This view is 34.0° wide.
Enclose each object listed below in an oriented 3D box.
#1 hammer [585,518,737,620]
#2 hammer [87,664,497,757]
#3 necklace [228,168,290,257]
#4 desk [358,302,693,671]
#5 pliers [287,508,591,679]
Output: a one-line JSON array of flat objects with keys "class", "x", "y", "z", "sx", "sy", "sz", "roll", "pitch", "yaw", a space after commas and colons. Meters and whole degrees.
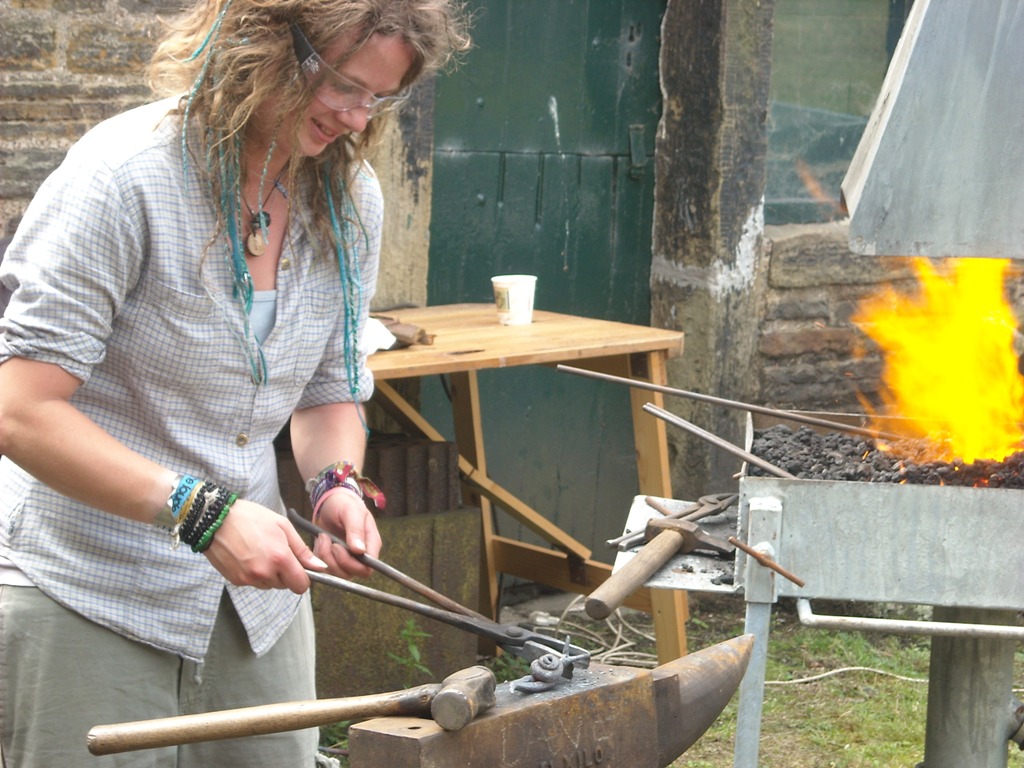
[{"class": "hammer", "x": 0.348, "y": 0.489, "z": 4.465, "sx": 0.496, "sy": 0.166, "sz": 0.216, "roll": -8, "pitch": 13, "yaw": -41}, {"class": "hammer", "x": -0.441, "y": 0.685, "z": 3.417, "sx": 0.820, "sy": 0.102, "sz": 0.306, "roll": 1, "pitch": -1, "yaw": -16}, {"class": "necklace", "x": -0.608, "y": -0.415, "z": 3.982, "sx": 0.183, "sy": 0.314, "sz": 0.040, "roll": -7, "pitch": 7, "yaw": -38}, {"class": "desk", "x": -0.009, "y": 0.430, "z": 6.309, "sx": 1.212, "sy": 1.355, "sz": 1.104, "roll": -10, "pitch": 22, "yaw": -42}, {"class": "pliers", "x": -0.196, "y": 0.503, "z": 3.799, "sx": 0.726, "sy": 0.110, "sz": 0.184, "roll": 28, "pitch": 19, "yaw": -10}]
